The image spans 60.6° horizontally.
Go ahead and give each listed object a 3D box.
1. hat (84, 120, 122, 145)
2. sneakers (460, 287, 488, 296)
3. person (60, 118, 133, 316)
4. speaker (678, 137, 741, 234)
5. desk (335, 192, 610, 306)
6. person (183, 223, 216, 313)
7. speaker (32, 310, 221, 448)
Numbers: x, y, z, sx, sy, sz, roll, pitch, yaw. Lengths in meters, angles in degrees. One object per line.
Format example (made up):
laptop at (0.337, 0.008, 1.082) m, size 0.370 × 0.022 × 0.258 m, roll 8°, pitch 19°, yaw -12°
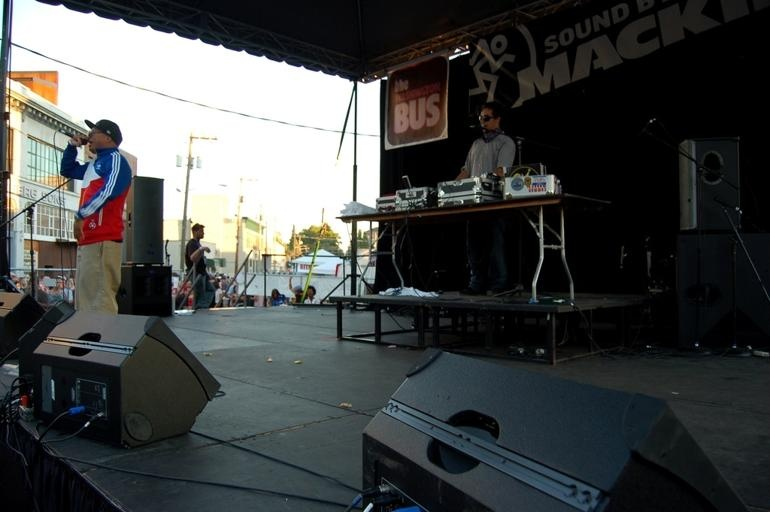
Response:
hat at (-2.749, -1.228, 6.472) m, size 0.299 × 0.170 × 0.214 m, roll 24°, pitch 5°, yaw -24°
sneakers at (1.108, 0.448, 8.252) m, size 0.314 × 0.155 × 0.120 m, roll -1°, pitch -3°, yaw -6°
person at (-2.751, -0.404, 6.437) m, size 0.486 × 1.886 × 0.309 m, roll 1°, pitch -3°, yaw -19°
speaker at (3.567, -0.805, 7.279) m, size 0.580 × 1.022 × 0.383 m, roll -1°, pitch -3°, yaw 28°
desk at (1.549, -0.067, 8.490) m, size 3.520 × 1.260 × 2.956 m, roll 2°, pitch -3°, yaw -36°
person at (-3.377, 0.173, 12.040) m, size 0.496 × 1.562 × 1.737 m, roll 1°, pitch -3°, yaw -17°
speaker at (-2.078, 0.930, 5.191) m, size 1.276 × 1.044 × 0.933 m, roll 1°, pitch 0°, yaw 40°
